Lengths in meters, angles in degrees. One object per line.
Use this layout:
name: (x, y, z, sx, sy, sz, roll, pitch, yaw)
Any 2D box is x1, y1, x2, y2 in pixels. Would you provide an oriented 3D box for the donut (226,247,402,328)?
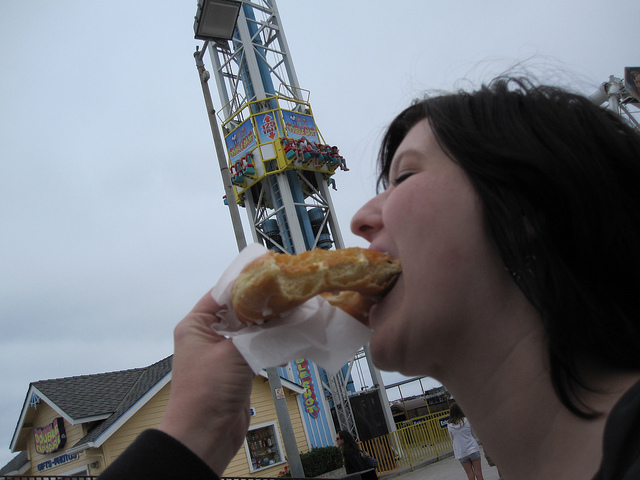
donut: (-0.050, 0.150, 1.744, 0.402, 0.159, 0.431, 0, -27, -24)
